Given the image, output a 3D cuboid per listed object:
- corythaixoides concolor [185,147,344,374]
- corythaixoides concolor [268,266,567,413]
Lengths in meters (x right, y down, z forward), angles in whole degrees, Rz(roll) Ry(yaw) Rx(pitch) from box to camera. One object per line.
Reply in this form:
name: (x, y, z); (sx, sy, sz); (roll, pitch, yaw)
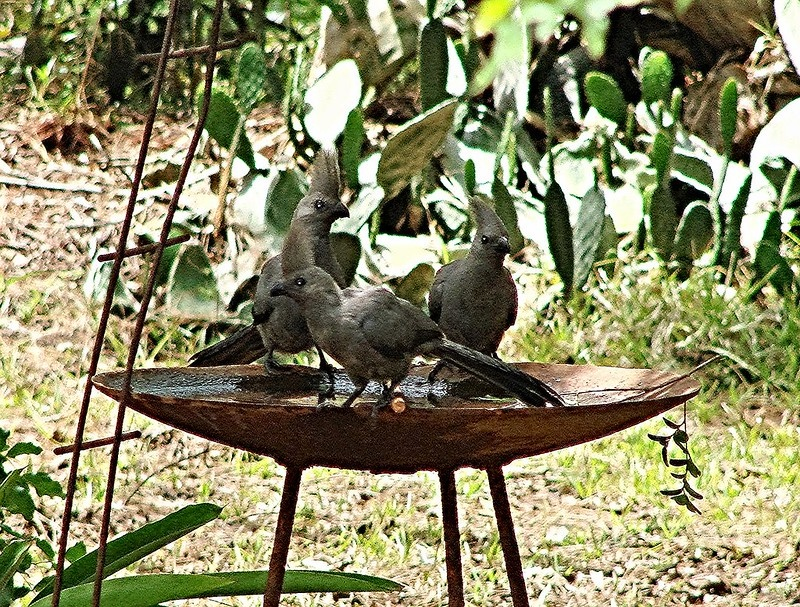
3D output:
corythaixoides concolor: (-0.477, -0.168, 4.968); (0.369, 0.884, 0.991); (-5, 9, -36)
corythaixoides concolor: (0.052, 0.130, 4.469); (1.121, 0.451, 0.300); (1, -1, -27)
